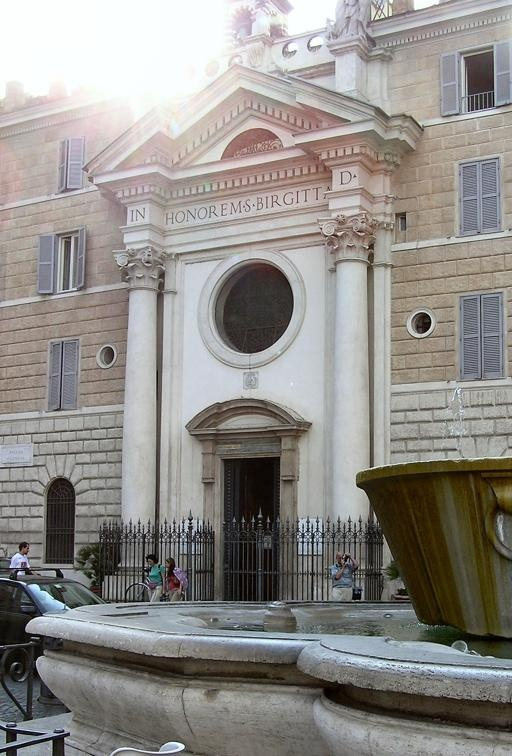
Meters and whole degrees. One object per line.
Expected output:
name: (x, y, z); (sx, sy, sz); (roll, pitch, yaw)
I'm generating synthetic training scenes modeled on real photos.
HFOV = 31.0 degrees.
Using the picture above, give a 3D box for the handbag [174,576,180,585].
handbag: (-1.275, 3.195, 14.567); (0.039, 0.132, 0.135); (-7, 1, -43)

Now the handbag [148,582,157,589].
handbag: (-1.697, 3.338, 14.944); (0.113, 0.139, 0.145); (-3, -34, 1)

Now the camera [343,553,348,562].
camera: (1.345, 2.721, 14.110); (0.093, 0.163, 0.132); (3, -5, -6)
